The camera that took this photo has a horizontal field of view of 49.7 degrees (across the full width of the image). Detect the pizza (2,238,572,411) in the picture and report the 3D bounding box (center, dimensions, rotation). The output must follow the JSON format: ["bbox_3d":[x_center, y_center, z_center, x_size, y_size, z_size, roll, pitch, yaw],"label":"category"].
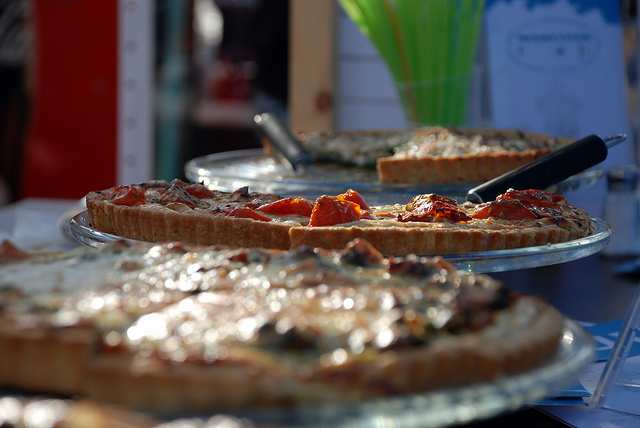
[{"bbox_3d":[-0.054,0.121,0.725,0.433,0.050,0.260,3,9,12],"label":"pizza"}]
